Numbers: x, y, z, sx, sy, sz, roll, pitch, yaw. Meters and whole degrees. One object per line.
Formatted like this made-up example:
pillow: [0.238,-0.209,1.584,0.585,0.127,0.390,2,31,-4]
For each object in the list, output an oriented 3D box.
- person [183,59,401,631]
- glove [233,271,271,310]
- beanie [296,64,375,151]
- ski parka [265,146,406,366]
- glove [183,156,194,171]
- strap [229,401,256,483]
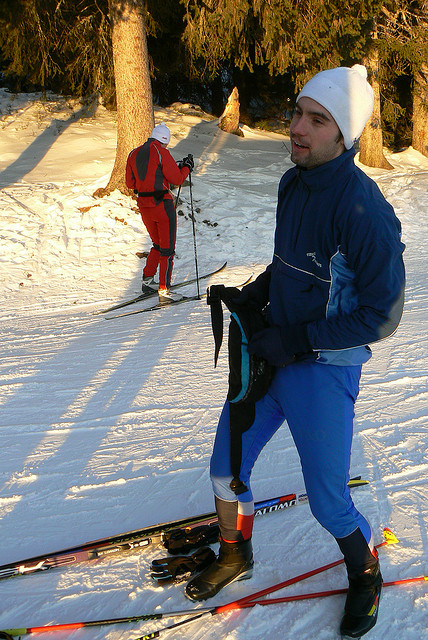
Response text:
person: [0.324,0.148,2.233,0.729,2.025,0.442,7,16,25]
glove: [0.170,-0.124,2.432,0.202,0.131,0.179,-14,20,-35]
beanie: [0.403,-0.702,2.083,0.226,0.295,0.213,10,22,33]
ski parka: [0.369,-0.216,2.075,0.306,0.737,0.603,-9,17,-32]
glove: [-0.301,-1.924,7.406,0.149,0.168,0.188,1,6,-3]
strap: [0.107,0.445,2.307,0.101,0.301,0.054,2,15,4]
